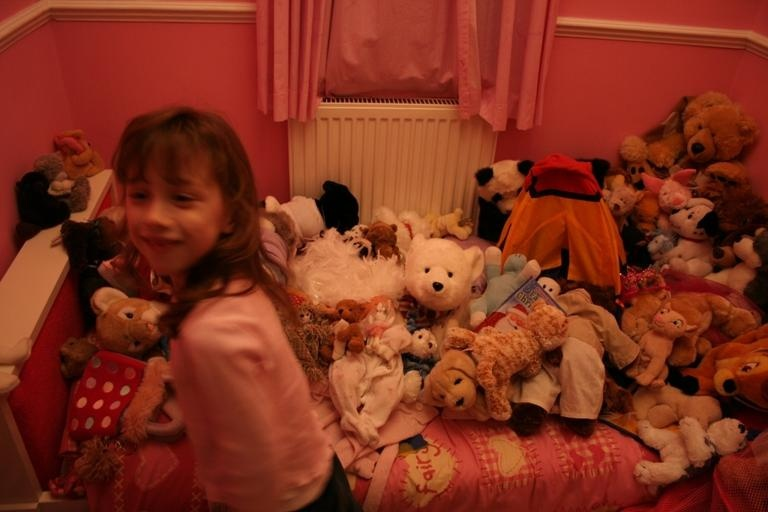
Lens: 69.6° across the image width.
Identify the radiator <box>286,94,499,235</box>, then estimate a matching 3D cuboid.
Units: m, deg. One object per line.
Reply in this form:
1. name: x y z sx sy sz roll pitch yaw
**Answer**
1. radiator: 0.184 -0.482 2.854 0.663 0.574 0.082 13 37 40
